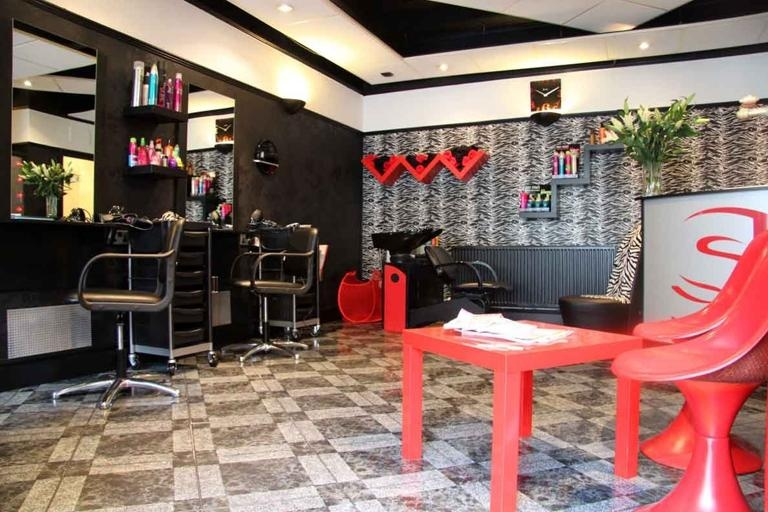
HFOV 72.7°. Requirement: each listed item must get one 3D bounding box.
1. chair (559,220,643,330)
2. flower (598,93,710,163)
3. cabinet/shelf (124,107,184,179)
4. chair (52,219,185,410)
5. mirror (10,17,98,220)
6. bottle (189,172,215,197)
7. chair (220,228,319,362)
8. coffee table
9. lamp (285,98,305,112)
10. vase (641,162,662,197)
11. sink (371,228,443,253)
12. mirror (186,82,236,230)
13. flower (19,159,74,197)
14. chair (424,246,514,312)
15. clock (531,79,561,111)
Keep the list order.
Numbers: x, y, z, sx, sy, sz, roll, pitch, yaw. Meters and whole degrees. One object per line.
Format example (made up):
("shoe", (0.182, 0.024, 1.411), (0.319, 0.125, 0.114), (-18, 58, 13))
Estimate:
("chair", (2.258, 0.263, 5.427), (0.883, 0.993, 0.700), (-1, 2, 16))
("flower", (2.689, -1.202, 5.280), (0.923, 0.574, 0.733), (-4, 6, 6))
("cabinet/shelf", (-2.089, -1.081, 4.933), (0.372, 0.538, 0.637), (3, 11, 21))
("chair", (-2.023, 0.413, 4.099), (1.018, 1.235, 0.970), (-4, -5, 39))
("mirror", (-2.680, -1.081, 4.257), (0.199, 1.496, 0.737), (3, 6, 24))
("bottle", (-1.892, -0.747, 5.403), (0.015, 0.252, 0.318), (4, 6, 35))
("chair", (-1.163, 0.335, 5.402), (0.953, 1.287, 1.312), (-1, 5, -7))
("coffee table", (0.806, 0.737, 3.228), (1.145, 0.842, 1.170), (-3, 5, -35))
("lamp", (-1.119, -1.872, 6.436), (0.229, 0.154, 0.173), (2, 5, 22))
("vase", (2.676, -0.779, 5.174), (0.135, 0.324, 0.189), (-1, 5, -6))
("sink", (0.329, -0.209, 6.735), (0.546, 0.179, 0.504), (-3, -1, -26))
("mirror", (-1.835, -0.962, 5.454), (0.697, 1.369, 0.115), (0, -6, 21))
("flower", (-2.727, -0.635, 4.292), (0.425, 0.226, 0.371), (-8, -3, 4))
("chair", (1.025, 0.297, 6.260), (1.040, 0.739, 0.734), (6, 3, 22))
("clock", (2.169, -2.147, 6.907), (0.522, 0.431, 0.068), (0, 0, 28))
